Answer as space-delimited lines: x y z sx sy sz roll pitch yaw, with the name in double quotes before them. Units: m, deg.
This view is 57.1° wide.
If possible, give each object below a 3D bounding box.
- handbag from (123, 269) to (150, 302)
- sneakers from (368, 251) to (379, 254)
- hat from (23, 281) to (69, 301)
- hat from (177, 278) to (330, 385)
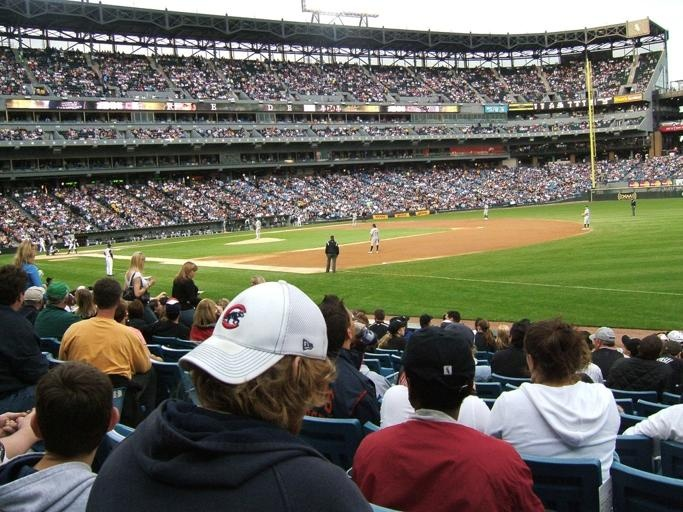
"handbag" -4.659 0.652 14.152 0.492 0.724 0.825 2 14 -42
"sneakers" 1.659 -0.206 32.691 0.164 0.154 0.457 -2 -2 -19
"hat" -4.062 0.517 8.763 0.632 0.202 0.381 -8 12 -28
"hat" -0.478 0.335 3.353 0.865 0.340 0.565 -15 23 -32
